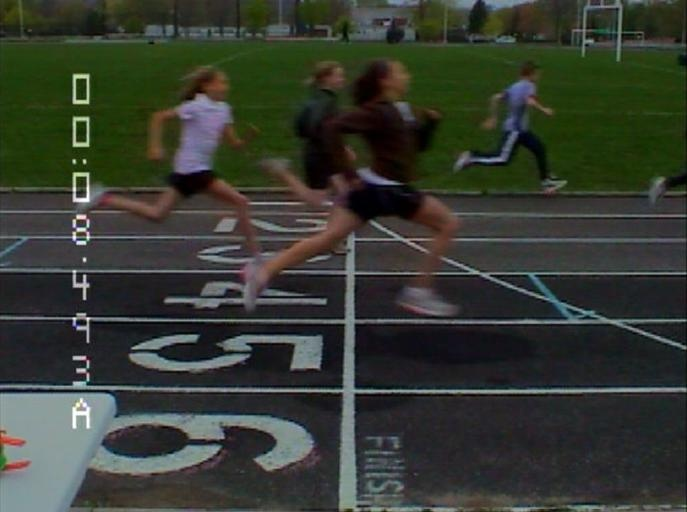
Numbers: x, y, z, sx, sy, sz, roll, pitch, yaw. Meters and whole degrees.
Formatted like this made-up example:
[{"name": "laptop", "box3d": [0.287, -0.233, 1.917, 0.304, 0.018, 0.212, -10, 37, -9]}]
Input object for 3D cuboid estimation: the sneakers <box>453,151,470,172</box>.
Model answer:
[{"name": "sneakers", "box3d": [2.029, -1.583, 20.622, 0.186, 0.154, 0.464, 43, -17, 4]}]
